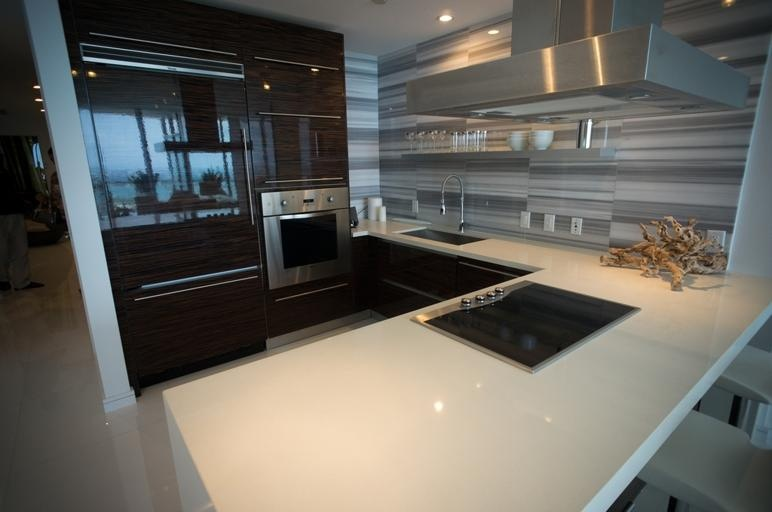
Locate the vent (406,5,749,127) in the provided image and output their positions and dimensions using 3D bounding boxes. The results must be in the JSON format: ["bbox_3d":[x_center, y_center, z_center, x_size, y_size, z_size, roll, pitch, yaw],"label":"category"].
[{"bbox_3d":[0.754,-0.777,2.179,0.926,0.170,0.820,-5,10,-35],"label":"vent"}]

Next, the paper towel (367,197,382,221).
[{"bbox_3d":[-0.107,-0.482,4.959,0.169,0.268,0.180,-7,19,-24],"label":"paper towel"}]

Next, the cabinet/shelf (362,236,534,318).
[{"bbox_3d":[0.295,0.257,4.103,0.927,0.667,1.784,-6,11,-34],"label":"cabinet/shelf"}]

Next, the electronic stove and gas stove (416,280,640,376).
[{"bbox_3d":[0.745,0.333,2.538,1.006,0.170,0.640,-11,15,-32],"label":"electronic stove and gas stove"}]

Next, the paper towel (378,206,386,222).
[{"bbox_3d":[-0.024,-0.424,4.930,0.084,0.153,0.045,-11,17,-31],"label":"paper towel"}]

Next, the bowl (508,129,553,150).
[{"bbox_3d":[1.121,-0.890,3.693,0.174,0.142,0.329,-15,18,-42],"label":"bowl"}]

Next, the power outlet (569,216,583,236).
[{"bbox_3d":[1.434,-0.230,3.604,0.020,0.174,0.130,-10,15,-36],"label":"power outlet"}]

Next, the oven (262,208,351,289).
[{"bbox_3d":[-0.806,-0.102,4.419,0.862,0.596,0.571,-11,14,-36],"label":"oven"}]
